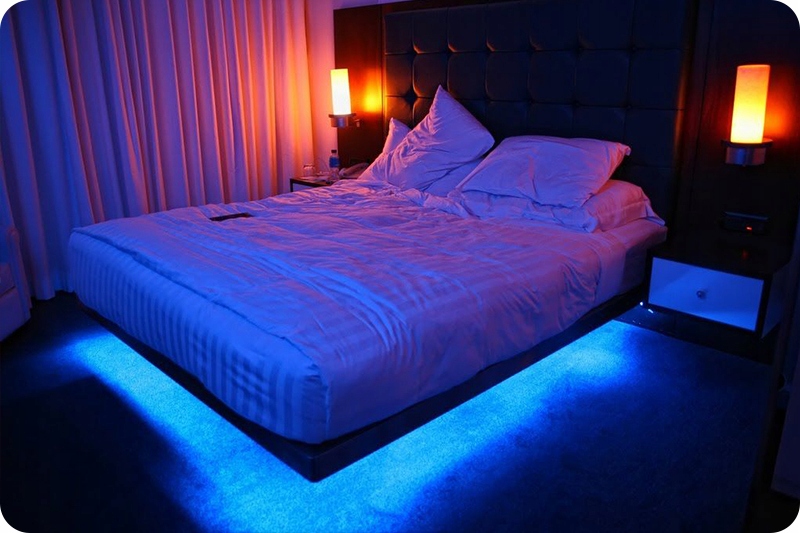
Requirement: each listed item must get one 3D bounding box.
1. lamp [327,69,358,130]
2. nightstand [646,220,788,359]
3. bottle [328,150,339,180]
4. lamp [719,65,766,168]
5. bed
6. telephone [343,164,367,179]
[{"bbox_3d":[-0.517,-1.497,5.135,0.232,0.541,0.367,0,21,-6],"label":"lamp"},{"bbox_3d":[2.018,0.212,3.550,0.752,0.568,0.721,-25,31,-38],"label":"nightstand"},{"bbox_3d":[-0.605,-0.918,5.144,0.093,0.223,0.236,-1,21,-7],"label":"bottle"},{"bbox_3d":[2.087,-0.881,3.370,0.253,0.600,0.241,-18,29,-41],"label":"lamp"},{"bbox_3d":[0.031,0.123,2.898,1.913,0.414,1.952,-15,20,-37],"label":"bed"},{"bbox_3d":[-0.423,-0.871,5.188,0.164,0.050,0.167,12,35,44],"label":"telephone"}]
